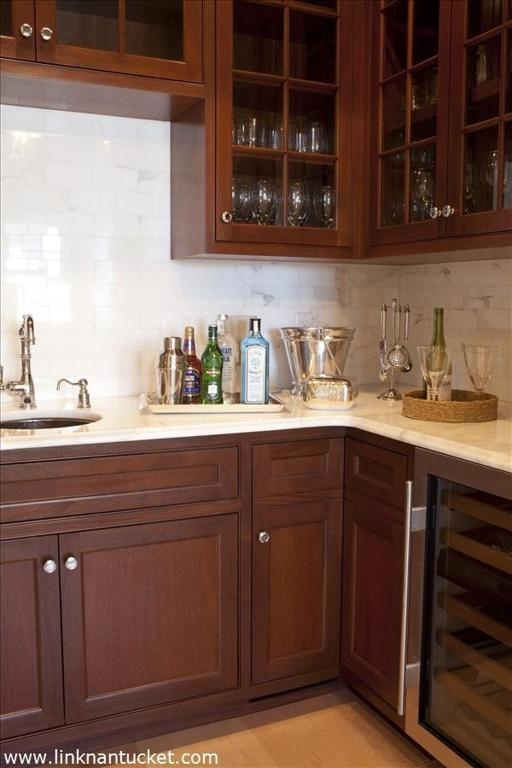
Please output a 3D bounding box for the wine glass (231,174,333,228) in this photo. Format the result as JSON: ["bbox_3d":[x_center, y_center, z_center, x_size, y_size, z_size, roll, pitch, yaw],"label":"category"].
[{"bbox_3d":[0.087,-0.552,1.889,0.281,0.156,0.118,-4,17,-23],"label":"wine glass"}]

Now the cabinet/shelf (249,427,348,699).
[{"bbox_3d":[0.081,0.423,1.862,0.330,0.823,0.377,-1,18,-4],"label":"cabinet/shelf"}]

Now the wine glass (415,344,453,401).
[{"bbox_3d":[0.498,-0.032,1.731,0.080,0.151,0.157,3,4,38],"label":"wine glass"}]

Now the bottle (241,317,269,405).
[{"bbox_3d":[-0.001,-0.078,1.921,0.095,0.280,0.098,1,21,0],"label":"bottle"}]

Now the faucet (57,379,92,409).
[{"bbox_3d":[-0.550,0.025,1.862,0.099,0.081,0.245,-1,3,-18],"label":"faucet"}]

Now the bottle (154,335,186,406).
[{"bbox_3d":[-0.255,-0.041,1.850,0.081,0.194,0.191,0,3,-4],"label":"bottle"}]

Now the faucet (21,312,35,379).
[{"bbox_3d":[-0.680,-0.105,1.833,0.038,0.197,0.105,-1,4,-21],"label":"faucet"}]

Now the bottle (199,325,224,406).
[{"bbox_3d":[-0.137,-0.062,1.928,0.062,0.236,0.086,-1,3,-17],"label":"bottle"}]

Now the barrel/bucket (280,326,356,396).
[{"bbox_3d":[0.208,-0.094,2.133,0.213,0.213,0.236,-3,4,-11],"label":"barrel/bucket"}]
